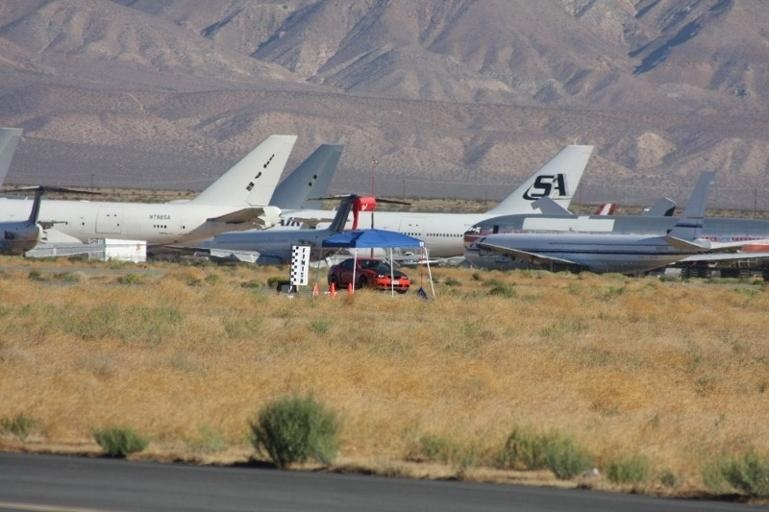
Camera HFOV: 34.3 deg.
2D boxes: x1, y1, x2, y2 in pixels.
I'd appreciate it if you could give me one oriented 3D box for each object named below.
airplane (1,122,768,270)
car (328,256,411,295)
[{"bbox_3d":[-5.949,-4.778,100.147,57.208,9.881,33.989,-2,6,-31],"label":"airplane"},{"bbox_3d":[-1.235,1.249,84.171,4.559,1.473,2.512,2,3,39],"label":"car"}]
